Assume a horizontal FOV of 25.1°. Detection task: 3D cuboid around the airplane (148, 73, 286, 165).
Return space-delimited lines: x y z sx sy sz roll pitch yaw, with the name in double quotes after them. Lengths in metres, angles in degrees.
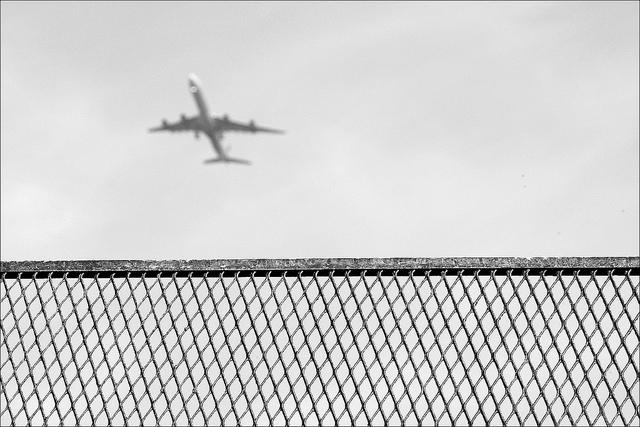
-3.326 -2.664 42.667 4.237 1.117 4.443 1 -33 9 "airplane"
